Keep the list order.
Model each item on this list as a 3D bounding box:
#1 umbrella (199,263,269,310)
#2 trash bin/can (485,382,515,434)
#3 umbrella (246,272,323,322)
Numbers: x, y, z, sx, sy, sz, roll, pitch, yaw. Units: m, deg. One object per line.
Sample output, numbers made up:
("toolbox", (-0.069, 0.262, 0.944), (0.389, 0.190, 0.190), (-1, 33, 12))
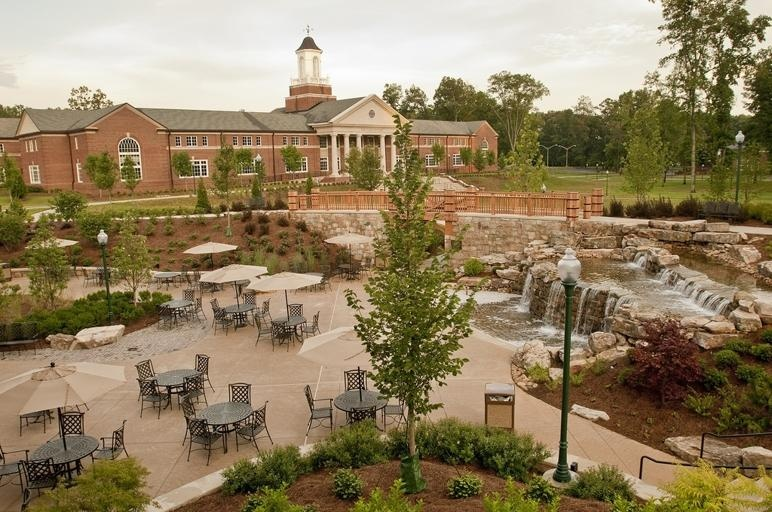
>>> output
("umbrella", (-6.372, 1.597, 26.255), (2.115, 1.488, 2.233), (-2, 13, 20))
("trash bin/can", (3.508, 4.723, 19.491), (0.923, 1.383, 0.756), (-1, 9, 8))
("umbrella", (-3.943, 1.993, 25.134), (2.264, 1.798, 2.487), (-4, 14, 2))
